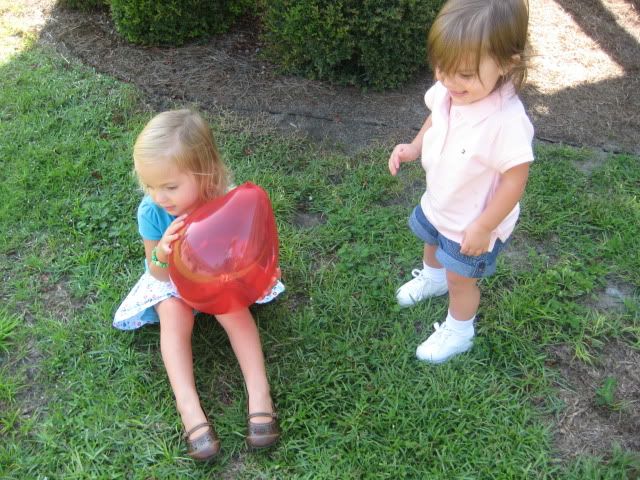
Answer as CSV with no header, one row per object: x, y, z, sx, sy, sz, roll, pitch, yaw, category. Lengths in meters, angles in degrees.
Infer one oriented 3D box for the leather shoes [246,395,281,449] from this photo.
-0.302,1.002,2.823,0.168,0.130,0.163,-11,42,-1,leather shoes

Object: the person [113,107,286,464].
-0.735,0.137,2.906,0.944,1.074,1.771,-8,53,-17,person

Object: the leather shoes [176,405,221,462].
-0.618,1.034,2.768,0.156,0.096,0.184,-30,46,-21,leather shoes

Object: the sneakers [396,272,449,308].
0.604,0.307,3.304,0.336,0.150,0.177,-15,61,4,sneakers
